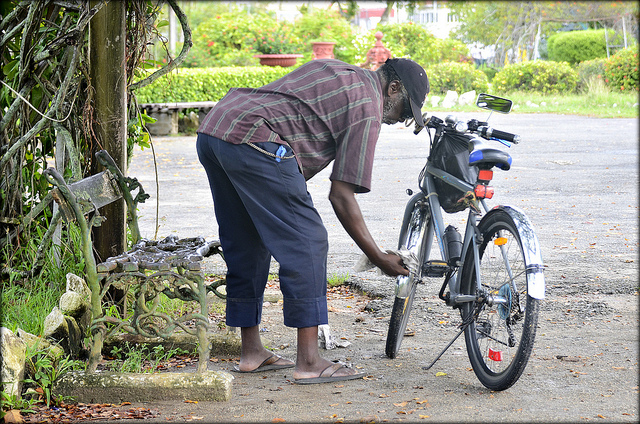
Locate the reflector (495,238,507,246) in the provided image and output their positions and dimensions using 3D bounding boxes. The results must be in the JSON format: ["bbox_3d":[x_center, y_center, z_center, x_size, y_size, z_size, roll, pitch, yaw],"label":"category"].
[{"bbox_3d":[1.468,0.230,6.536,0.101,0.065,0.060,2,12,6],"label":"reflector"}]

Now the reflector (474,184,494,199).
[{"bbox_3d":[1.373,-0.201,6.755,0.157,0.118,0.111,3,10,-5],"label":"reflector"}]

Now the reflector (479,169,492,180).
[{"bbox_3d":[1.399,-0.318,6.716,0.135,0.087,0.072,-6,14,-29],"label":"reflector"}]

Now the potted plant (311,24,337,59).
[{"bbox_3d":[-0.015,-5.949,29.057,0.779,1.170,0.734,0,5,-7],"label":"potted plant"}]

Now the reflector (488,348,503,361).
[{"bbox_3d":[1.410,1.143,6.519,0.049,0.087,0.114,-9,15,-37],"label":"reflector"}]

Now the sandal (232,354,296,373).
[{"bbox_3d":[-0.482,1.226,6.849,0.510,0.129,0.189,-3,0,-14],"label":"sandal"}]

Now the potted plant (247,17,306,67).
[{"bbox_3d":[-1.604,-5.828,28.786,1.917,1.606,2.105,7,20,37],"label":"potted plant"}]

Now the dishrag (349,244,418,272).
[{"bbox_3d":[0.564,0.384,6.885,0.526,0.206,0.255,-2,-2,-2],"label":"dishrag"}]

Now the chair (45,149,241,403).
[{"bbox_3d":[-0.711,0.482,7.425,1.728,2.024,3.202,3,-1,-34],"label":"chair"}]
